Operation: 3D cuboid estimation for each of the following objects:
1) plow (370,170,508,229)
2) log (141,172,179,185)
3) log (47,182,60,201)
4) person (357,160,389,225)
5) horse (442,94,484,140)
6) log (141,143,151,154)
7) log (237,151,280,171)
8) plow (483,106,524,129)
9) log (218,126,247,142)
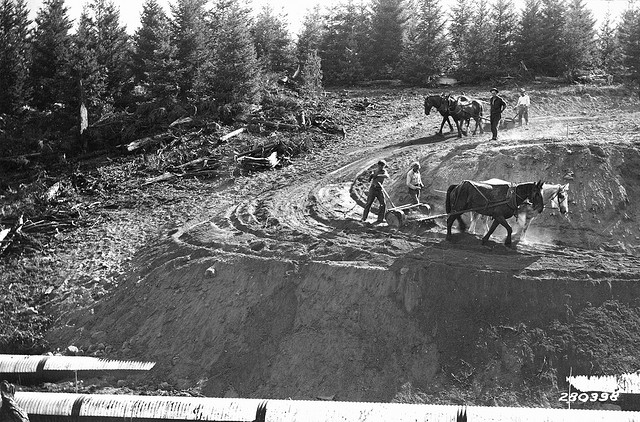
[{"bbox_3d":[5.292,-0.167,23.189,5.049,3.285,2.387,-17,-4,41],"label":"plow"},{"bbox_3d":[-9.883,-2.073,30.224,2.187,0.127,0.697,-21,55,-14],"label":"log"},{"bbox_3d":[-15.813,-1.154,28.971,0.347,0.860,1.071,-5,12,-3],"label":"log"},{"bbox_3d":[2.626,-0.951,23.190,1.315,3.225,1.093,2,21,4],"label":"person"},{"bbox_3d":[9.581,-6.387,32.580,3.868,2.922,1.001,-12,13,-29],"label":"horse"},{"bbox_3d":[-11.830,-4.275,33.176,0.678,0.543,0.297,-9,13,-22],"label":"log"},{"bbox_3d":[-3.908,-3.174,31.544,1.698,0.726,1.175,13,26,-10],"label":"log"},{"bbox_3d":[12.335,-6.277,32.921,1.914,0.971,2.799,4,29,35],"label":"plow"},{"bbox_3d":[-6.021,-5.509,34.123,2.831,0.615,0.375,-30,7,-36],"label":"log"}]
